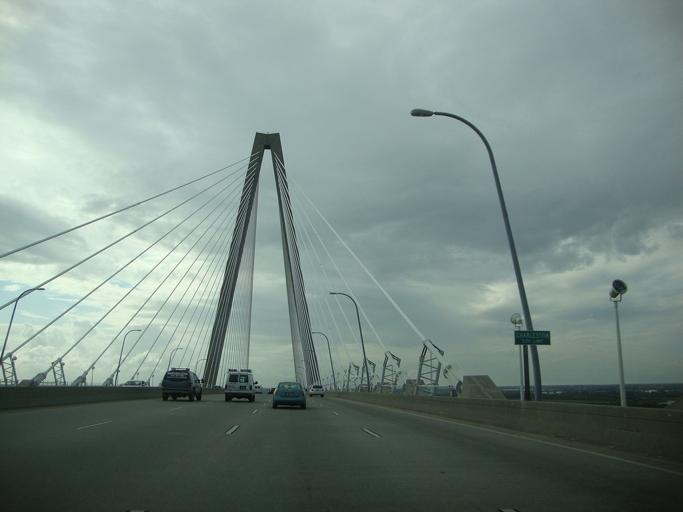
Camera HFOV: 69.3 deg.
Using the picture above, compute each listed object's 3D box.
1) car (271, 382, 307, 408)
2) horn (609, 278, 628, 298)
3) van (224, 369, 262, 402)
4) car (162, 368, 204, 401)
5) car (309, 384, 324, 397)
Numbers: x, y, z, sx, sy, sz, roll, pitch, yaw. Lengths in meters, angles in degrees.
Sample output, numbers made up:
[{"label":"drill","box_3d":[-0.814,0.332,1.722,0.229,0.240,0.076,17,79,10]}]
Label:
[{"label":"car","box_3d":[-2.765,7.329,25.977,1.639,1.349,1.956,4,-13,-6]},{"label":"horn","box_3d":[10.693,1.300,19.070,0.475,0.678,1.238,-3,-14,23]},{"label":"van","box_3d":[-7.155,9.141,34.740,2.023,2.100,2.336,5,-13,-15]},{"label":"car","box_3d":[-10.670,8.551,32.991,2.211,2.065,2.322,3,-13,-4]},{"label":"car","box_3d":[-3.102,16.061,59.127,1.194,1.063,2.131,1,-5,-6]}]
